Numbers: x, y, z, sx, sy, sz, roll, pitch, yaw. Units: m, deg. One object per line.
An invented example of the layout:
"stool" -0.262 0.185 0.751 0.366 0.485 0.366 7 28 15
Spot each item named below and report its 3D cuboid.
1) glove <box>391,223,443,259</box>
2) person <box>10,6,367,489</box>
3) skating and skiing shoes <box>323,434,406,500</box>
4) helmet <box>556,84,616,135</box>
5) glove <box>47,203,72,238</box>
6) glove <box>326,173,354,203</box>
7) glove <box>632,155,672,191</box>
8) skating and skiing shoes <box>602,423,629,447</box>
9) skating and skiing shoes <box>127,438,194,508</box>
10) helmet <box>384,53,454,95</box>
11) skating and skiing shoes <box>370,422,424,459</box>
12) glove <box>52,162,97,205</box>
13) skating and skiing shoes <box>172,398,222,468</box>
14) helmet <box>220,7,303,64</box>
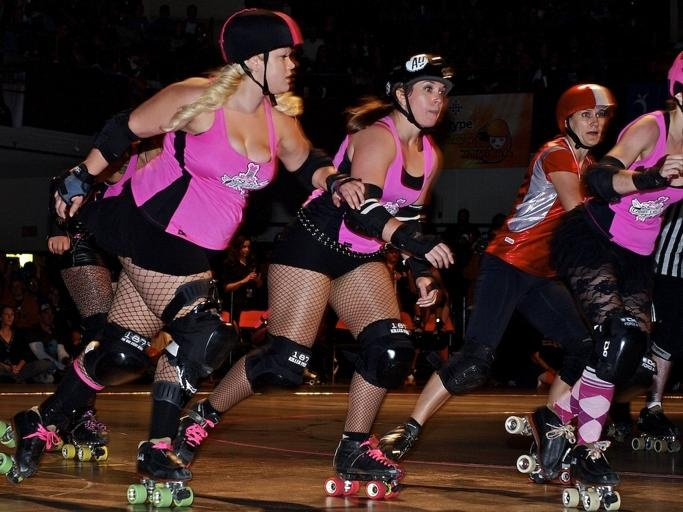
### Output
"glove" 0.310 -0.089 2.371 0.129 0.080 0.189 37 -6 -38
"person" -0.653 -0.038 2.537 1.357 2.099 0.606 5 5 14
"skating and skiing shoes" 0.107 0.989 2.786 0.355 0.263 0.231 -4 -9 31
"helmet" 1.383 -0.833 3.350 0.276 0.215 0.289 -4 7 -42
"glove" -1.305 -0.157 2.703 0.124 0.167 0.062 4 23 1
"glove" -0.003 -0.308 2.559 0.107 0.042 0.110 34 40 30
"glove" 1.220 -0.333 2.303 0.111 0.070 0.144 -17 23 -38
"skating and skiing shoes" 2.121 1.362 4.562 0.102 0.162 0.173 0 4 -13
"skating and skiing shoes" -0.751 0.900 2.501 0.174 0.272 0.401 5 -5 -39
"helmet" 0.382 -0.893 2.933 0.277 0.224 0.200 -22 -10 17
"skating and skiing shoes" 0.311 0.903 2.963 0.146 0.111 0.281 21 26 35
"glove" -1.110 -0.304 2.527 0.166 0.165 0.071 -38 -16 -1
"skating and skiing shoes" -0.662 0.849 2.682 0.161 0.115 0.379 -31 22 10
"helmet" -0.318 -0.923 2.443 0.312 0.187 0.233 5 21 5
